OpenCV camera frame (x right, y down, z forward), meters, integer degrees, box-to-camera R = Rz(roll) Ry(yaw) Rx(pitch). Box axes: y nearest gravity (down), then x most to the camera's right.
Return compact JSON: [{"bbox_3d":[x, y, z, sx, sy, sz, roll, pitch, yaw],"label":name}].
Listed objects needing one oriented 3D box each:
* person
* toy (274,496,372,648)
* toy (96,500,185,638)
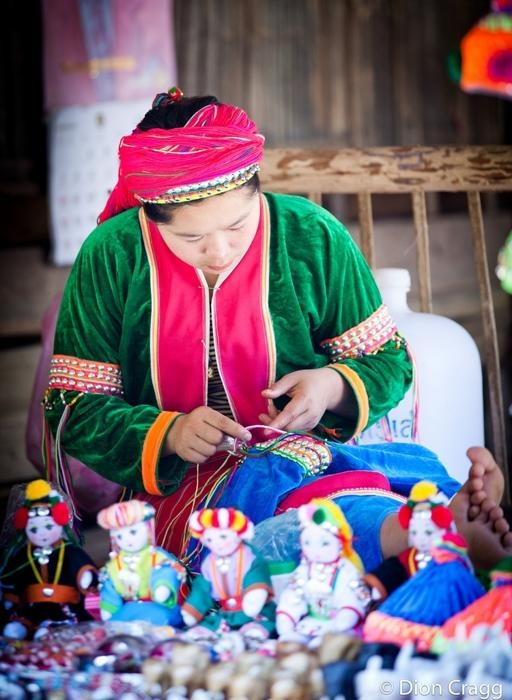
[{"bbox_3d":[-0.111,-0.119,1.380,0.682,0.671,0.881,-23,35,-13],"label":"person"},{"bbox_3d":[0.079,0.271,0.980,0.125,0.153,0.114,-6,8,-3],"label":"toy"},{"bbox_3d":[-0.150,0.279,1.019,0.116,0.166,0.120,-8,8,-13],"label":"toy"}]
